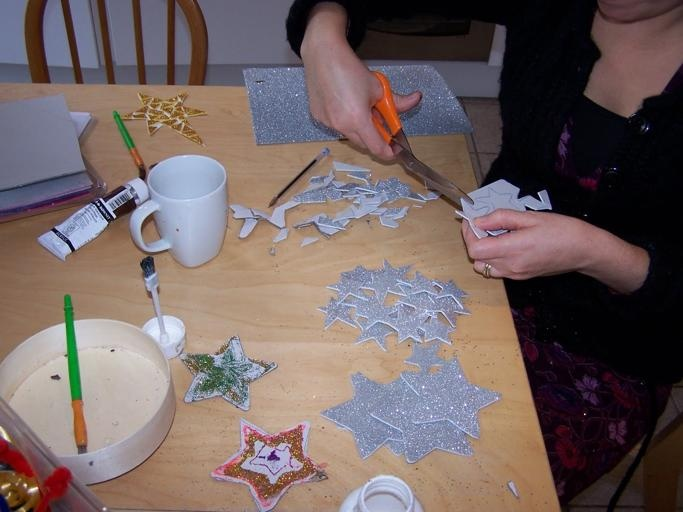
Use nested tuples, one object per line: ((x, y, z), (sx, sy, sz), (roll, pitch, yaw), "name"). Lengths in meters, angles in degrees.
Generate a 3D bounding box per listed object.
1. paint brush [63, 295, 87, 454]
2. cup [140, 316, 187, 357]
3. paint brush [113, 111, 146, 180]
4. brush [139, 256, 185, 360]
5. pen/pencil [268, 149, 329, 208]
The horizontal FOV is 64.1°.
((-0.429, 0.193, 0.886), (0.018, 0.275, 0.020), (-6, -1, 13), "paint brush")
((-0.324, 0.149, 1.032), (0.093, 0.073, 0.104), (-8, 29, -16), "cup")
((-0.517, -0.265, 1.336), (0.039, 0.060, 0.231), (-16, 51, -23), "paint brush")
((-0.343, 0.108, 1.047), (0.073, 0.176, 0.076), (21, 47, 20), "brush")
((-0.102, -0.197, 1.323), (0.221, 0.024, 0.024), (-47, 17, -15), "pen/pencil")
